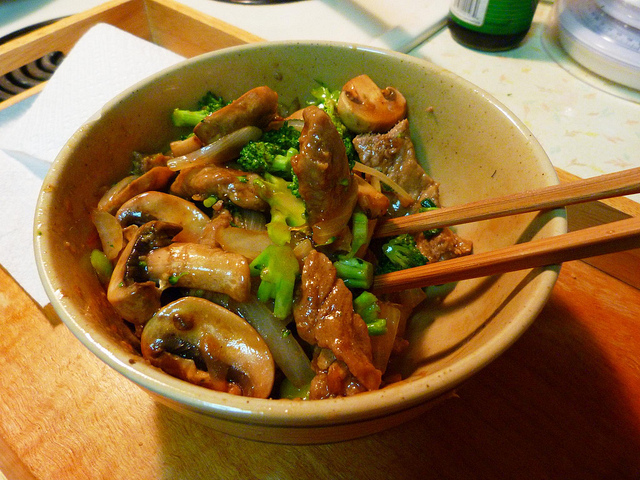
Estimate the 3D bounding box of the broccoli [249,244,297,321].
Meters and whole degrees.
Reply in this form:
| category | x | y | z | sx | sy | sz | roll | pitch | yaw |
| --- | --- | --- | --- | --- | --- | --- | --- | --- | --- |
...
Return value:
| category | x | y | z | sx | sy | sz | roll | pitch | yaw |
| --- | --- | --- | --- | --- | --- | --- | --- | --- | --- |
| broccoli | -0.157 | 0.143 | 2.058 | 0.198 | 0.108 | 0.244 | 31 | 107 | 27 |

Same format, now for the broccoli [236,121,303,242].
| category | x | y | z | sx | sy | sz | roll | pitch | yaw |
| --- | --- | --- | --- | --- | --- | --- | --- | --- | --- |
| broccoli | -0.157 | -0.221 | 2.299 | 0.282 | 0.162 | 0.454 | -21 | 70 | 12 |

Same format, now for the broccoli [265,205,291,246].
| category | x | y | z | sx | sy | sz | roll | pitch | yaw |
| --- | --- | --- | --- | --- | --- | --- | --- | --- | --- |
| broccoli | -0.157 | -0.051 | 2.166 | 0.085 | 0.061 | 0.192 | -6 | 61 | -6 |

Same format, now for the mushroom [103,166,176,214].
| category | x | y | z | sx | sy | sz | roll | pitch | yaw |
| --- | --- | --- | --- | --- | --- | --- | --- | --- | --- |
| mushroom | -0.727 | -0.228 | 2.347 | 0.204 | 0.274 | 0.067 | -21 | 82 | 40 |

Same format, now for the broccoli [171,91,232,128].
| category | x | y | z | sx | sy | sz | roll | pitch | yaw |
| --- | --- | --- | --- | --- | --- | --- | --- | --- | --- |
| broccoli | -0.521 | -0.556 | 2.489 | 0.214 | 0.099 | 0.169 | -10 | 25 | -13 |

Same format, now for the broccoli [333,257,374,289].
| category | x | y | z | sx | sy | sz | roll | pitch | yaw |
| --- | --- | --- | --- | --- | --- | --- | --- | --- | --- |
| broccoli | 0.122 | 0.131 | 2.112 | 0.123 | 0.054 | 0.100 | 11 | 103 | 9 |

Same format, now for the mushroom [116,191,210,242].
| category | x | y | z | sx | sy | sz | roll | pitch | yaw |
| --- | --- | --- | --- | --- | --- | --- | --- | --- | --- |
| mushroom | -0.592 | -0.072 | 2.321 | 0.336 | 0.282 | 0.101 | 9 | 36 | 38 |

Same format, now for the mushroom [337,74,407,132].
| category | x | y | z | sx | sy | sz | roll | pitch | yaw |
| --- | --- | --- | --- | --- | --- | --- | --- | --- | --- |
| mushroom | 0.220 | -0.590 | 2.476 | 0.237 | 0.150 | 0.247 | -26 | 54 | -28 |

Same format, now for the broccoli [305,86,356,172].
| category | x | y | z | sx | sy | sz | roll | pitch | yaw |
| --- | --- | --- | --- | --- | --- | --- | --- | --- | --- |
| broccoli | 0.056 | -0.497 | 2.501 | 0.262 | 0.091 | 0.365 | -3 | 85 | 42 |

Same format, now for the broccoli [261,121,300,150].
| category | x | y | z | sx | sy | sz | roll | pitch | yaw |
| --- | --- | --- | --- | --- | --- | --- | --- | --- | --- |
| broccoli | -0.150 | -0.416 | 2.342 | 0.120 | 0.041 | 0.120 | -35 | 75 | -26 |

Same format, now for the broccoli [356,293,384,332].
| category | x | y | z | sx | sy | sz | roll | pitch | yaw |
| --- | --- | --- | --- | --- | --- | --- | --- | --- | --- |
| broccoli | 0.189 | 0.268 | 2.133 | 0.043 | 0.122 | 0.120 | -35 | 69 | -10 |

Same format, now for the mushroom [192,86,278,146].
| category | x | y | z | sx | sy | sz | roll | pitch | yaw |
| --- | --- | --- | --- | --- | --- | --- | --- | --- | --- |
| mushroom | -0.331 | -0.493 | 2.393 | 0.342 | 0.122 | 0.186 | -35 | 59 | -1 |

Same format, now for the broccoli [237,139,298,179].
| category | x | y | z | sx | sy | sz | roll | pitch | yaw |
| --- | --- | --- | --- | --- | --- | --- | --- | --- | --- |
| broccoli | -0.192 | -0.287 | 2.295 | 0.235 | 0.136 | 0.118 | 6 | 76 | 0 |

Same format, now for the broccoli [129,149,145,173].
| category | x | y | z | sx | sy | sz | roll | pitch | yaw |
| --- | --- | --- | --- | --- | --- | --- | --- | --- | --- |
| broccoli | -0.761 | -0.329 | 2.392 | 0.064 | 0.032 | 0.091 | 3 | 84 | 15 |

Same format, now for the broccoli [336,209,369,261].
| category | x | y | z | sx | sy | sz | roll | pitch | yaw |
| --- | --- | --- | --- | --- | --- | --- | --- | --- | --- |
| broccoli | 0.145 | -0.024 | 2.197 | 0.052 | 0.122 | 0.173 | 15 | 78 | 11 |
